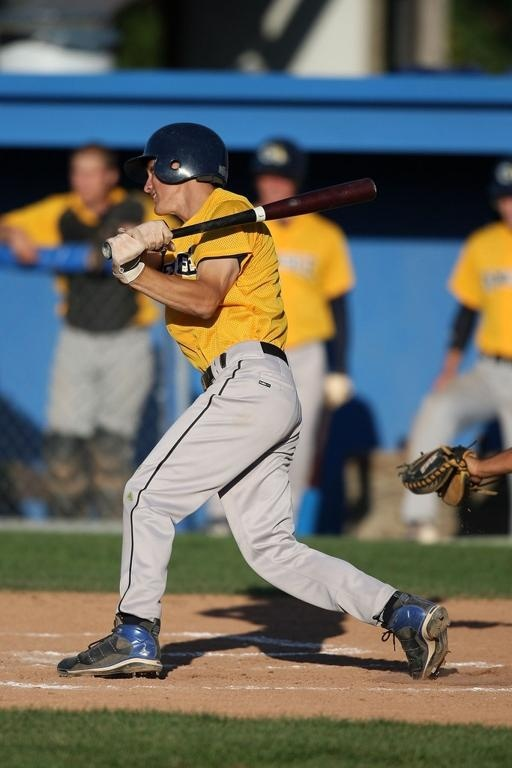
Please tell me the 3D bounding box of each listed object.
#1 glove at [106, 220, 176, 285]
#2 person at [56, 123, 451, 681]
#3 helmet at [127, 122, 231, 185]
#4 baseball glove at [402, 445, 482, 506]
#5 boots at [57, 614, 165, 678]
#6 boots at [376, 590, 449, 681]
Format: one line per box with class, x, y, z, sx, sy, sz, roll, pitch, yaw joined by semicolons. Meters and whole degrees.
glove;-0.319;-0.364;3.443;0.081;0.174;0.170;25;75;32
person;-0.023;0.055;3.630;1.019;1.428;0.923;-3;26;-5
helmet;-0.216;-0.669;3.735;0.320;0.186;0.225;3;1;18
baseball glove;0.540;0.270;3.935;0.179;0.078;0.214;-25;21;6
boots;-0.425;0.739;3.561;0.351;0.206;0.125;0;-8;17
boots;0.425;0.688;3.559;0.136;0.294;0.098;7;40;5
